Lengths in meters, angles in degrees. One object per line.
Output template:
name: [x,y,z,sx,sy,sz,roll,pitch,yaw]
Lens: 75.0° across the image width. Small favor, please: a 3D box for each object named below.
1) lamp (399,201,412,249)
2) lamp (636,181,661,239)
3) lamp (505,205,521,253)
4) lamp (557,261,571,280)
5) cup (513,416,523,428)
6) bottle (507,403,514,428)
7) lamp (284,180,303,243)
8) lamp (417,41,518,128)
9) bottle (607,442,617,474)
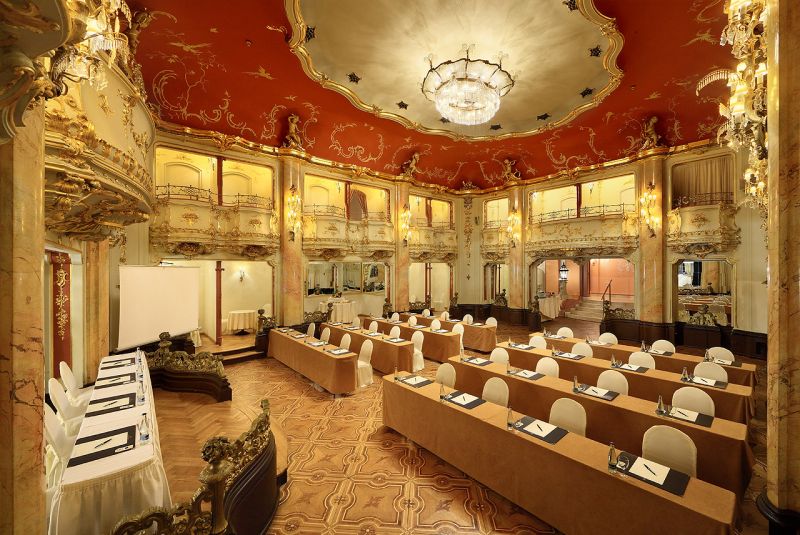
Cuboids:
lamp: [0.231,-1.434,17.898,0.244,1.182,0.668,-1,-1,21]
lamp: [7.020,-1.604,14.718,0.639,1.614,0.184,-1,-1,44]
lamp: [3.958,-1.337,18.174,0.238,1.340,0.635,0,-1,-36]
lamp: [6.855,0.130,21.746,0.374,0.804,1.797,-1,-2,18]
cup: [1.842,2.442,8.145,0.101,0.065,0.155,-15,-8,2]
bottle: [1.750,2.360,8.250,0.101,0.290,0.416,-1,-2,12]
lamp: [-2.968,-1.525,14.740,0.495,1.100,0.225,0,-1,-40]
lamp: [1.531,-4.043,11.861,2.078,1.468,2.189,2,13,-12]
bottle: [3.066,2.676,7.469,0.139,0.385,0.374,-1,-1,22]
